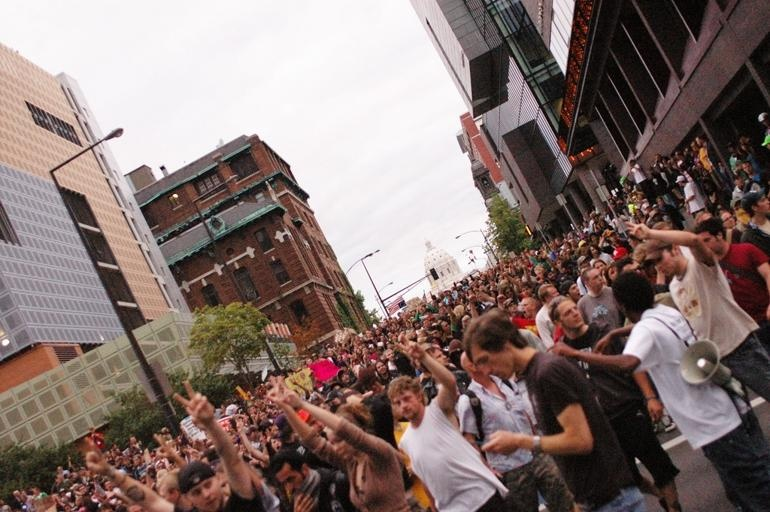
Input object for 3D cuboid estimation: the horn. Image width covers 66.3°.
[{"bbox_3d":[3.392,1.217,6.063,0.406,0.519,0.716,-24,37,61],"label":"horn"}]
